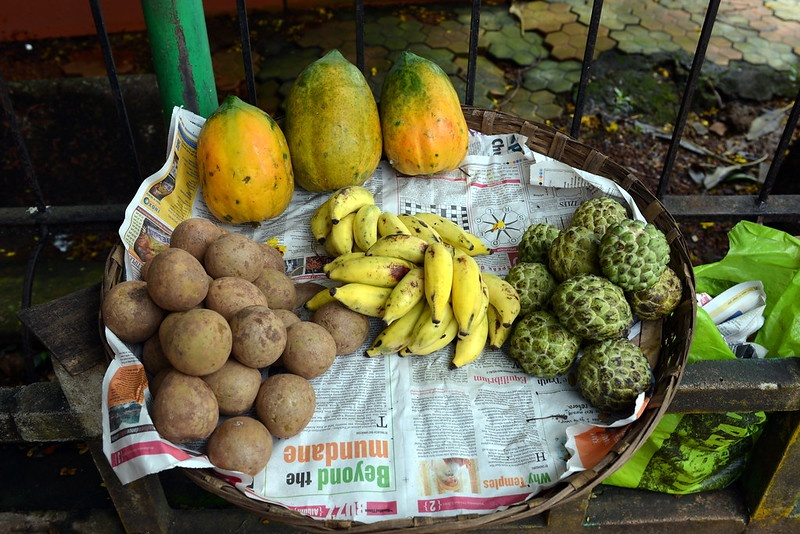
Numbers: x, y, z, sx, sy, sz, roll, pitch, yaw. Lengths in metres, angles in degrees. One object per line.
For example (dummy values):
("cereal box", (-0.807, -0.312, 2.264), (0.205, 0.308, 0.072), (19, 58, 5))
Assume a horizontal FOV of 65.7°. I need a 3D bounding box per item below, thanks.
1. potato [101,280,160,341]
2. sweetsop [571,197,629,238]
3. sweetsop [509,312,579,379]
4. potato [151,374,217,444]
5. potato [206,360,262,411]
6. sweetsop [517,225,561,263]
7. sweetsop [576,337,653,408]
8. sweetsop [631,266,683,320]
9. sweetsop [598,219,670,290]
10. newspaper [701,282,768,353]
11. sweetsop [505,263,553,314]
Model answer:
("potato", (-1.156, 0.226, 2.689), (0.226, 0.184, 0.252), (3, 60, -14))
("sweetsop", (0.986, -0.211, 3.041), (0.241, 0.203, 0.219), (-9, 59, 22))
("sweetsop", (0.696, 0.353, 2.880), (0.249, 0.274, 0.296), (-3, 7, -16))
("potato", (-0.895, 0.561, 2.606), (0.261, 0.262, 0.355), (-3, 64, -16))
("potato", (-0.688, 0.512, 2.595), (0.221, 0.173, 0.173), (2, 51, 6))
("sweetsop", (0.694, -0.115, 3.109), (0.172, 0.201, 0.165), (-14, 69, 21))
("sweetsop", (1.007, 0.488, 2.832), (0.307, 0.331, 0.374), (-8, 5, 14))
("sweetsop", (1.175, 0.134, 2.931), (0.245, 0.216, 0.198), (-11, 68, 11))
("sweetsop", (1.056, -0.031, 2.901), (0.364, 0.359, 0.341), (0, -1, 17))
("newspaper", (1.687, 0.237, 3.099), (0.370, 0.298, 0.137), (-34, 16, -17))
("sweetsop", (0.613, 0.114, 2.999), (0.211, 0.230, 0.202), (1, 70, -46))
